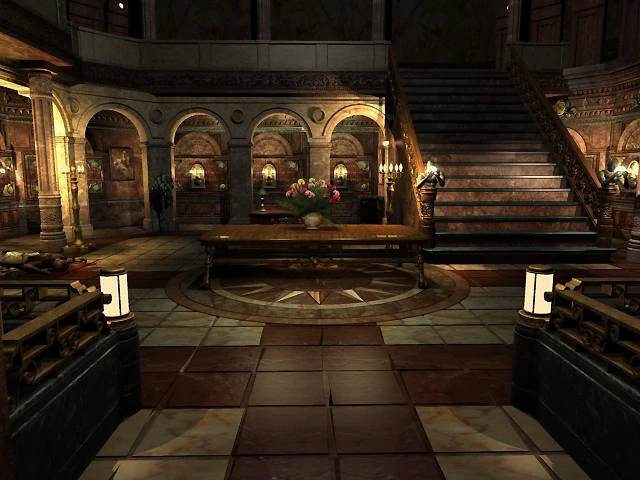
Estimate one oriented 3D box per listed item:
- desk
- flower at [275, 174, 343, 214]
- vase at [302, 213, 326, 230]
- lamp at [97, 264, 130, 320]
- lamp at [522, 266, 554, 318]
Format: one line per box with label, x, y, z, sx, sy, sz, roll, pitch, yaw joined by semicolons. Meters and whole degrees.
desk;-0.089;0.200;6.510;3.278;0.766;1.499;0;11;-2
flower;-0.265;-0.710;6.787;0.953;0.541;0.989;-5;3;40
vase;-0.064;-0.306;6.586;0.298;0.187;0.309;2;3;34
lamp;-1.389;0.359;2.853;0.171;0.341;0.215;-7;14;-25
lamp;1.539;0.336;2.921;0.175;0.352;0.200;5;14;24
